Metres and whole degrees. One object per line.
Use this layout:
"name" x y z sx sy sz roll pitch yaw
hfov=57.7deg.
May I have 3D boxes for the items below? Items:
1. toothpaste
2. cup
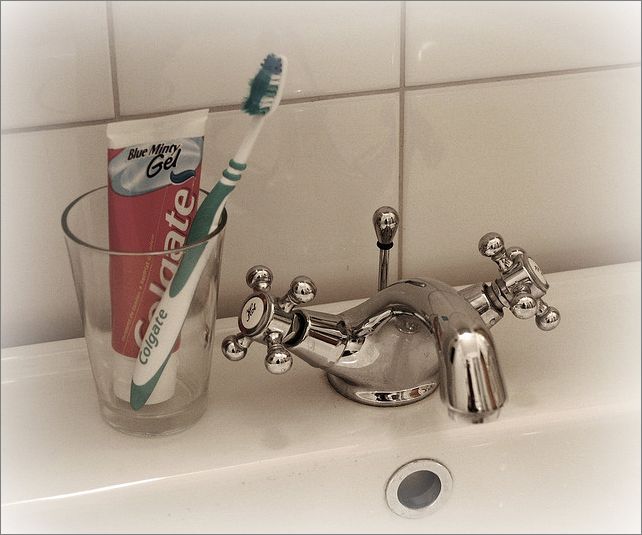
"toothpaste" -0.100 0.006 0.367 0.066 0.044 0.191 1 -86 -11
"cup" -0.122 0.020 0.434 0.170 0.103 0.135 -6 -56 -34
